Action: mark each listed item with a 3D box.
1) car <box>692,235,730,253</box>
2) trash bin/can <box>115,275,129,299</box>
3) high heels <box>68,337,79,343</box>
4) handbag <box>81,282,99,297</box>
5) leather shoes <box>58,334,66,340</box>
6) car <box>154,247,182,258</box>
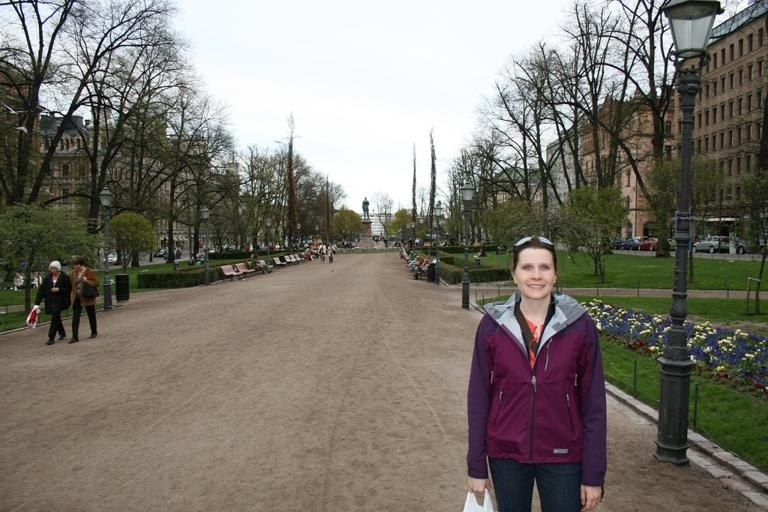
[{"bbox_3d":[26.030,-0.911,47.578,1.228,1.029,2.858,0,7,-2],"label":"car"},{"bbox_3d":[-11.087,1.350,25.224,0.513,1.103,0.587,-4,9,-22],"label":"trash bin/can"},{"bbox_3d":[-8.458,2.324,16.333,0.121,0.166,0.355,-1,-7,9],"label":"high heels"},{"bbox_3d":[-8.179,0.948,16.552,0.155,0.389,0.376,-7,-4,40],"label":"handbag"},{"bbox_3d":[-9.095,2.294,16.793,0.255,0.123,0.101,1,5,11],"label":"leather shoes"},{"bbox_3d":[-26.774,-0.381,73.399,2.833,1.380,1.632,2,1,-7],"label":"car"}]
